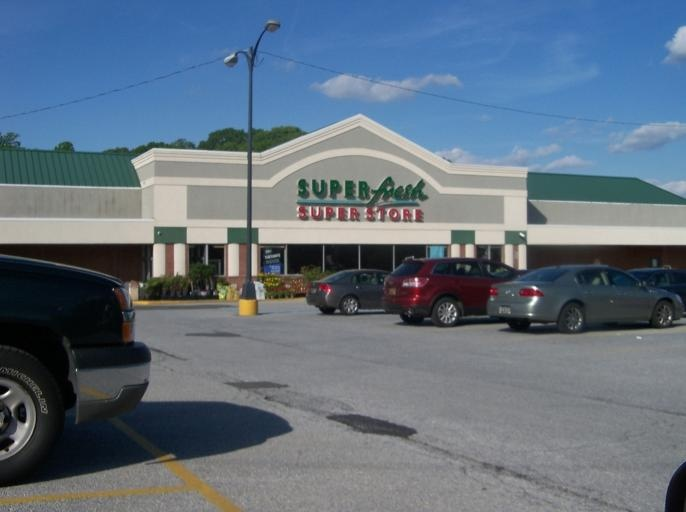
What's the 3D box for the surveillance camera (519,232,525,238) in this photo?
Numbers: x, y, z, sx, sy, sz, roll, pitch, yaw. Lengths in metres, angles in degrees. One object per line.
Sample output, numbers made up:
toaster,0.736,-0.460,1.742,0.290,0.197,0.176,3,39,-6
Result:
surveillance camera,12.263,-1.390,44.401,0.558,0.368,0.154,0,0,-25
